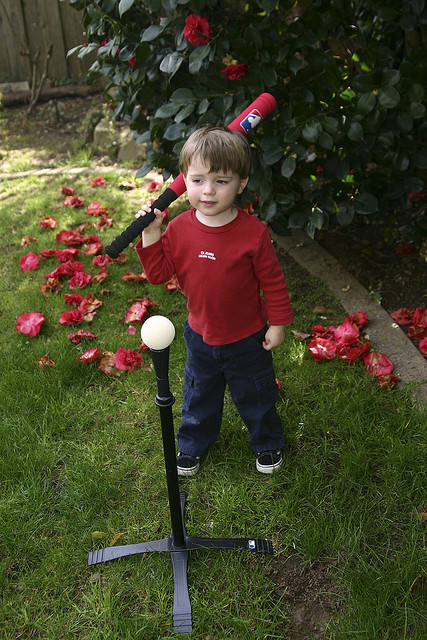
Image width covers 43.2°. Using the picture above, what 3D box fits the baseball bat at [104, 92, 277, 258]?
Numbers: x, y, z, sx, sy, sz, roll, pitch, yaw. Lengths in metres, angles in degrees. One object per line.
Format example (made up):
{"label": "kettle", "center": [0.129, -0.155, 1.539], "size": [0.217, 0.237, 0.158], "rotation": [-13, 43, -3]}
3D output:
{"label": "baseball bat", "center": [-0.062, -0.427, 1.559], "size": [0.687, 0.083, 0.080], "rotation": [-47, 33, -13]}
